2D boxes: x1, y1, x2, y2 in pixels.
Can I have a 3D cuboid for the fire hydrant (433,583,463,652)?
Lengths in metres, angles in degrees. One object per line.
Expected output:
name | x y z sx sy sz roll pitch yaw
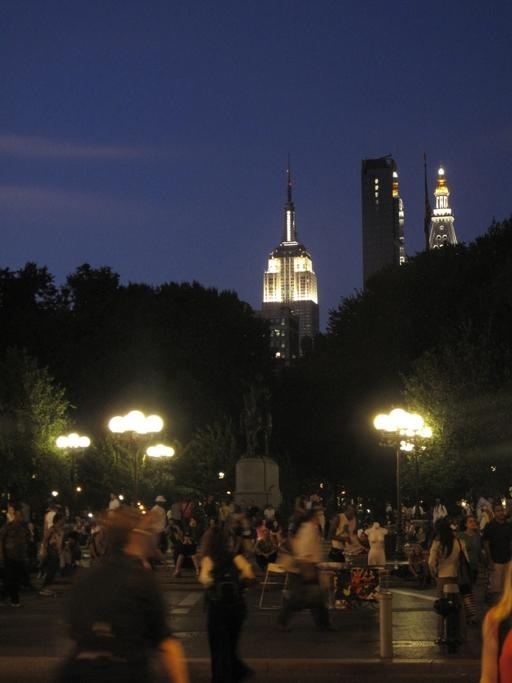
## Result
fire hydrant | 2.304 3.246 14.504 0.311 0.783 1.321 -2 -11 10
